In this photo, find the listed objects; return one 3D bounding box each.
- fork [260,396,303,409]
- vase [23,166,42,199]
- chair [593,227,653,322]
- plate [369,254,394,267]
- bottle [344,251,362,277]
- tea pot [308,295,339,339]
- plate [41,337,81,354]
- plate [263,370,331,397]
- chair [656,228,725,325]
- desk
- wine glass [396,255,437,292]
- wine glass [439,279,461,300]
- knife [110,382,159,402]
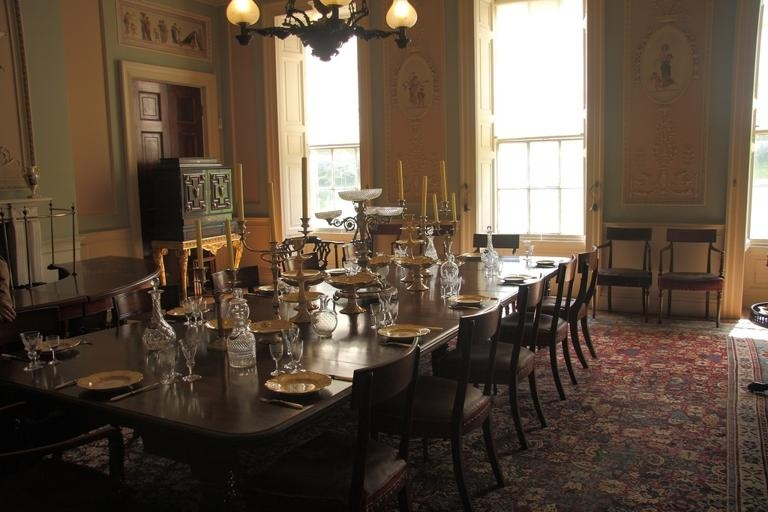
[{"bbox_3d":[-0.501,0.718,2.773,0.172,0.020,0.027,4,21,25],"label":"fork"},{"bbox_3d":[-3.487,-0.743,5.595,0.101,0.329,0.226,-8,7,-31],"label":"vase"},{"bbox_3d":[2.822,0.184,6.618,0.623,1.054,0.616,-1,7,24],"label":"chair"},{"bbox_3d":[-0.016,0.039,4.538,0.133,0.050,0.140,-1,8,12],"label":"plate"},{"bbox_3d":[-0.258,0.065,4.689,0.200,0.202,0.192,-1,4,-3],"label":"bottle"},{"bbox_3d":[-0.373,0.374,3.556,0.181,0.251,0.167,-2,9,0],"label":"tea pot"},{"bbox_3d":[-1.971,0.537,3.430,0.128,0.029,0.123,-2,5,-10],"label":"plate"},{"bbox_3d":[-0.436,0.653,2.883,0.335,0.075,0.214,-4,5,-16],"label":"plate"},{"bbox_3d":[3.487,0.221,6.373,0.677,1.077,0.674,0,7,27],"label":"chair"},{"bbox_3d":[-2.830,0.140,7.845,1.354,0.761,0.516,-11,22,44],"label":"desk"},{"bbox_3d":[0.259,0.139,4.610,0.306,0.195,0.297,0,0,-6],"label":"wine glass"},{"bbox_3d":[0.515,0.247,4.339,0.154,0.190,0.167,2,2,11],"label":"wine glass"},{"bbox_3d":[-1.286,0.696,2.893,0.036,0.020,0.248,11,13,34],"label":"knife"}]
